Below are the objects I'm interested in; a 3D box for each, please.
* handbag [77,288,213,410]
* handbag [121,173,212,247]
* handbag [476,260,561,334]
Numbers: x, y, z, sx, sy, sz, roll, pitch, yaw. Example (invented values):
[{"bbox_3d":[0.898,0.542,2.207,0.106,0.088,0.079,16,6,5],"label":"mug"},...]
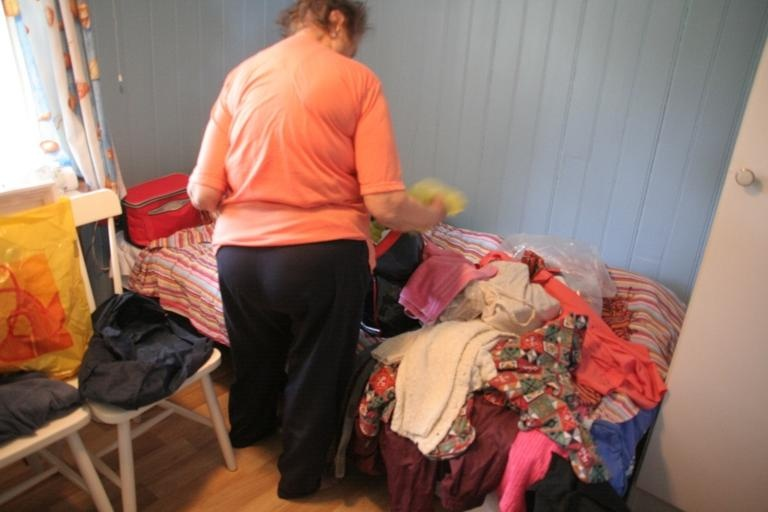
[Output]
[{"bbox_3d":[-1.004,0.362,2.273,0.531,0.183,0.543,-5,38,-23],"label":"handbag"},{"bbox_3d":[-1.297,-0.273,3.185,0.266,0.316,0.463,27,39,28],"label":"handbag"},{"bbox_3d":[0.597,0.195,2.448,0.332,0.118,0.266,-28,48,-30],"label":"handbag"}]
